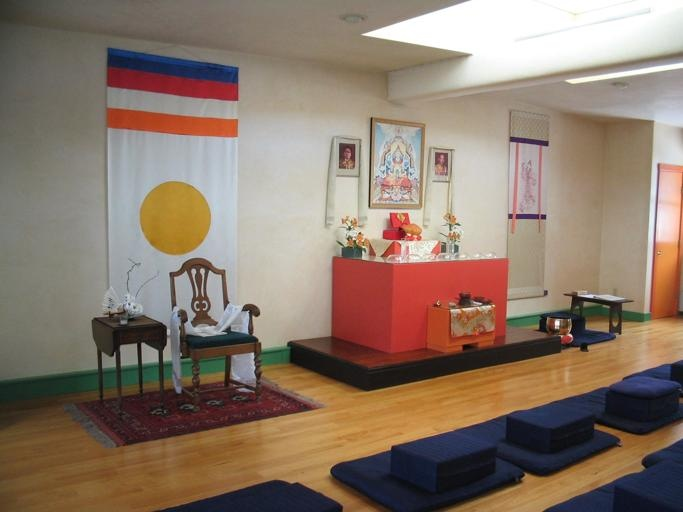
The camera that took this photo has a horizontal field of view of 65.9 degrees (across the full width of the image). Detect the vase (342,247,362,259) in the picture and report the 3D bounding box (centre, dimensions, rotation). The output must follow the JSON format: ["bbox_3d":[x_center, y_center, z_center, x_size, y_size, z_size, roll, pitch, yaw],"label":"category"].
[{"bbox_3d":[0.116,-0.046,6.244,0.153,0.101,0.158,1,1,35],"label":"vase"}]

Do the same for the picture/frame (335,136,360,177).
[{"bbox_3d":[0.057,-1.226,6.415,0.487,0.599,0.046,-3,6,-40],"label":"picture/frame"}]

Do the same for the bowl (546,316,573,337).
[{"bbox_3d":[2.967,0.955,7.181,0.261,0.195,0.270,0,-2,0],"label":"bowl"}]

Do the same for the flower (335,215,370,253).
[{"bbox_3d":[0.133,-0.263,6.466,0.409,0.466,0.451,2,4,36],"label":"flower"}]

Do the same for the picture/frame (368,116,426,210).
[{"bbox_3d":[0.711,-1.186,6.818,0.878,1.133,0.104,-4,9,-33],"label":"picture/frame"}]

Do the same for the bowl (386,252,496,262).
[{"bbox_3d":[1.142,0.007,6.271,1.586,0.087,0.371,-3,8,-30],"label":"bowl"}]

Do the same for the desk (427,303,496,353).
[{"bbox_3d":[1.410,0.818,6.133,0.805,0.493,0.378,-2,7,-36],"label":"desk"}]

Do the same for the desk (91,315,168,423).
[{"bbox_3d":[-1.926,0.952,4.756,0.468,0.766,0.649,-4,5,-44],"label":"desk"}]

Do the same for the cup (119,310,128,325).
[{"bbox_3d":[-1.888,0.538,4.569,0.086,0.116,0.095,0,2,-18],"label":"cup"}]
